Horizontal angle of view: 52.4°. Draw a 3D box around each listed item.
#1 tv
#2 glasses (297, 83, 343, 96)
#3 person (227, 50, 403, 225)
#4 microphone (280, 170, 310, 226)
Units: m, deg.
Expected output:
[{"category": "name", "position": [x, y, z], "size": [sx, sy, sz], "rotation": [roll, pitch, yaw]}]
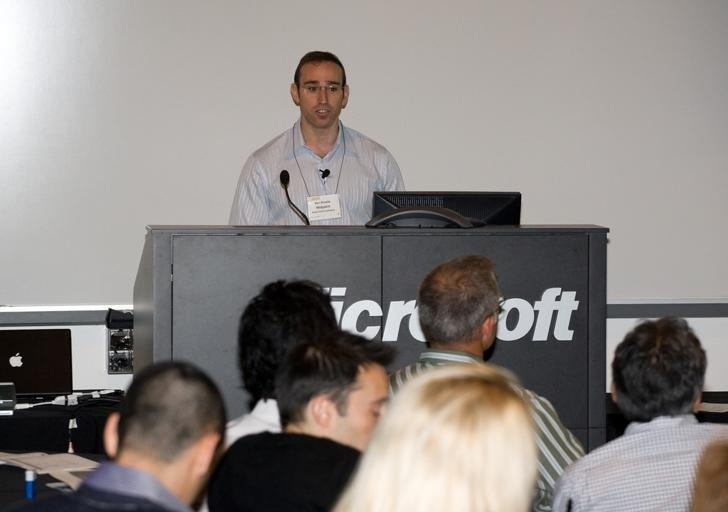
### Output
[{"category": "tv", "position": [0.321, -0.188, 2.888], "size": [0.597, 0.182, 0.376], "rotation": [-1, -4, 4]}, {"category": "glasses", "position": [-0.202, -0.830, 3.674], "size": [0.184, 0.049, 0.040], "rotation": [0, -3, -5]}, {"category": "person", "position": [-0.244, -0.577, 3.835], "size": [0.767, 0.889, 0.554], "rotation": [3, -4, -42]}, {"category": "microphone", "position": [-0.330, -0.283, 3.532], "size": [0.144, 0.310, 0.531], "rotation": [0, -4, -6]}]
